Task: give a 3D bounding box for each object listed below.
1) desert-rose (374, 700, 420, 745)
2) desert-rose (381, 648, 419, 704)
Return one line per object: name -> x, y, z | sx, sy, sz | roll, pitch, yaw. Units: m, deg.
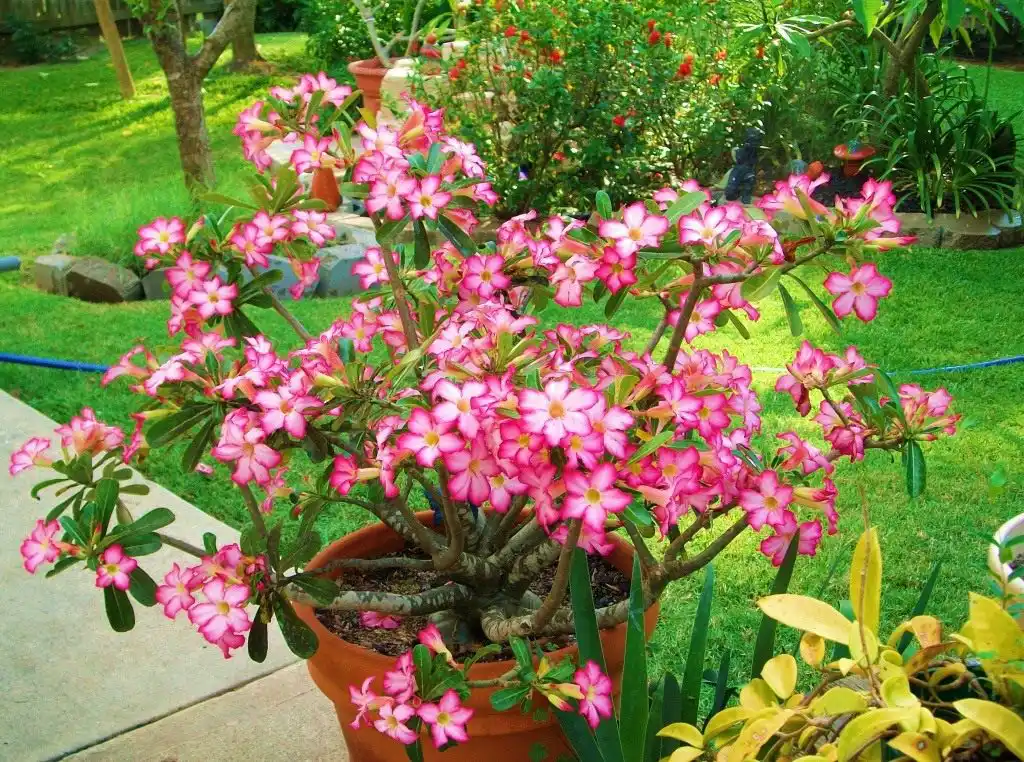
desert-rose -> -0.218, 0.635, 1.687 | 0.085, 0.078, 0.024 | 24, 24, 28
desert-rose -> -0.210, 0.570, 1.709 | 0.081, 0.082, 0.033 | -21, -23, 26
